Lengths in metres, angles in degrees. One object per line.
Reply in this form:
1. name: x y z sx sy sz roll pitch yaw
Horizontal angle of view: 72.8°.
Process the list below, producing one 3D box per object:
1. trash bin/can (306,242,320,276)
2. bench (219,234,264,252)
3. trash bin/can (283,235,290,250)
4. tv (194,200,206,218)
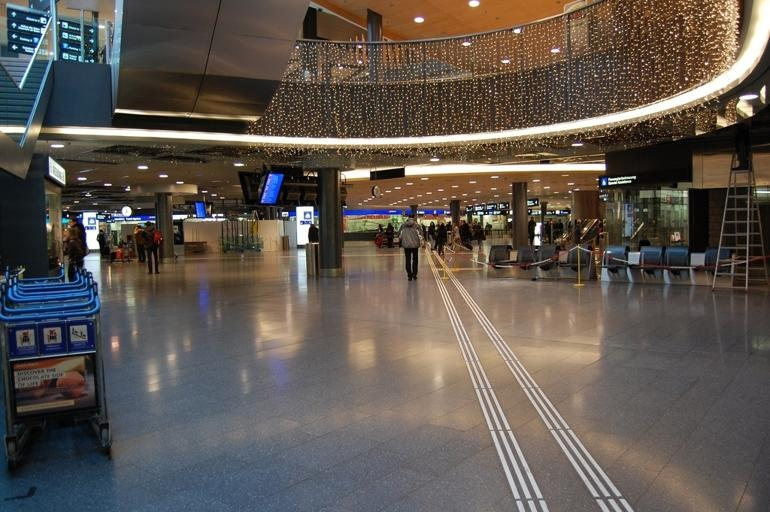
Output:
1. trash bin/can: -2.645 0.114 19.312 0.451 1.097 0.785 -1 7 -6
2. bench: -11.479 -1.001 41.732 3.058 1.277 1.703 -3 8 -20
3. trash bin/can: -8.846 -1.222 46.844 0.549 1.181 2.581 -2 8 -9
4. tv: -14.381 -3.707 40.777 0.194 1.595 1.347 -1 5 25
